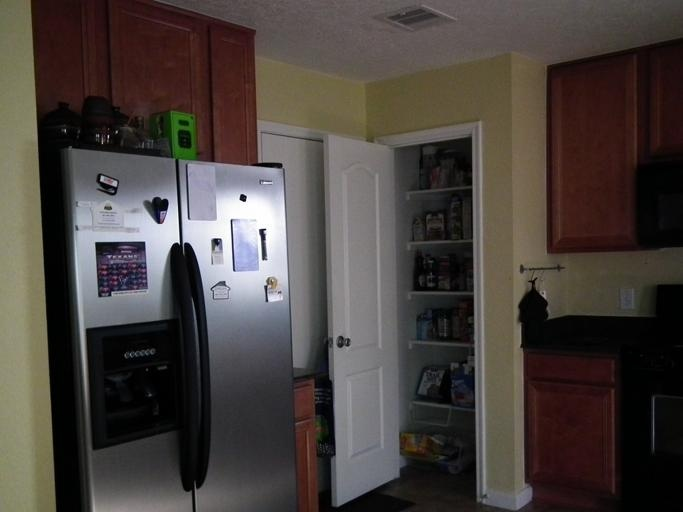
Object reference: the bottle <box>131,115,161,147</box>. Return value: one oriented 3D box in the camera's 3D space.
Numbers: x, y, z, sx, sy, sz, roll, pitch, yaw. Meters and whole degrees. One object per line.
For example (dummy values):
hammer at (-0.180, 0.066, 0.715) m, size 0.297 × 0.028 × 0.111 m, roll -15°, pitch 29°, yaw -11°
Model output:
bottle at (-0.953, -0.599, 2.701) m, size 0.137 × 0.179 × 0.289 m, roll -2°, pitch 0°, yaw -21°

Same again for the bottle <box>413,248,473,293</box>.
bottle at (0.853, 0.147, 4.635) m, size 0.451 × 0.317 × 0.334 m, roll -5°, pitch -8°, yaw 37°

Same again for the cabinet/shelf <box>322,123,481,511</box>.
cabinet/shelf at (0.582, 0.394, 4.261) m, size 0.948 × 2.387 × 1.633 m, roll -2°, pitch 1°, yaw 36°

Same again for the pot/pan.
pot/pan at (-1.145, -0.549, 2.441) m, size 0.357 × 0.172 × 0.230 m, roll -2°, pitch 0°, yaw 34°
